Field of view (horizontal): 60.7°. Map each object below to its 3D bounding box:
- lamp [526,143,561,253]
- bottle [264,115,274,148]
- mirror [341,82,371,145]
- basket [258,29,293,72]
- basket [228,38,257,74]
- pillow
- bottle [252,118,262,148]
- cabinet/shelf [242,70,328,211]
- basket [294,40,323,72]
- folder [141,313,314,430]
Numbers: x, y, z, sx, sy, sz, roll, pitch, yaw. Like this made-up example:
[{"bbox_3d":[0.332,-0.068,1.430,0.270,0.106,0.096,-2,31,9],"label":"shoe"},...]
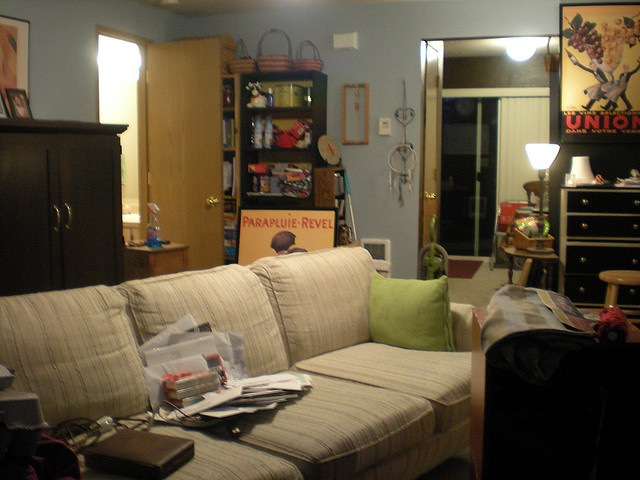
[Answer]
[{"bbox_3d":[1.977,-0.377,4.889,0.286,0.883,0.284,0,0,33],"label":"lamp"},{"bbox_3d":[-0.519,-1.081,5.507,0.110,0.326,0.096,-1,7,14],"label":"bottle"},{"bbox_3d":[0.370,-1.309,5.567,0.270,0.601,0.058,3,23,13],"label":"mirror"},{"bbox_3d":[-0.444,-1.868,5.401,0.318,0.466,0.253,2,8,10],"label":"basket"},{"bbox_3d":[-0.755,-1.866,5.487,0.289,0.296,0.187,4,30,23],"label":"basket"},{"bbox_3d":[0.494,0.427,3.197,0.481,0.461,0.251,5,3,44],"label":"pillow"},{"bbox_3d":[-0.619,-1.081,5.518,0.093,0.322,0.075,-3,7,2],"label":"bottle"},{"bbox_3d":[-0.527,-0.941,5.527,0.559,1.301,0.307,12,14,24],"label":"cabinet/shelf"},{"bbox_3d":[-0.115,-1.860,5.512,0.283,0.404,0.435,-3,7,-1],"label":"basket"},{"bbox_3d":[-0.410,0.541,2.372,0.684,0.405,0.359,-6,7,-21],"label":"folder"}]
